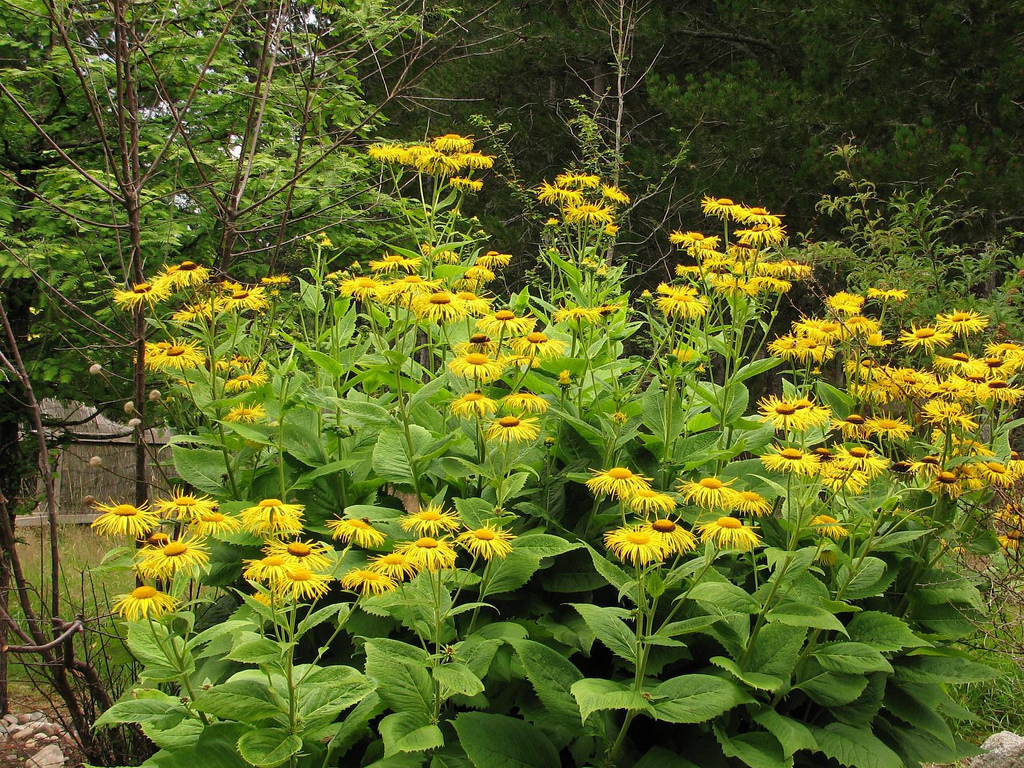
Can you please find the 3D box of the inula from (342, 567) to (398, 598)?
[{"bbox_3d":[-0.516,0.758,3.595,0.191,0.065,0.187,13,11,-2],"label":"inula"}]
